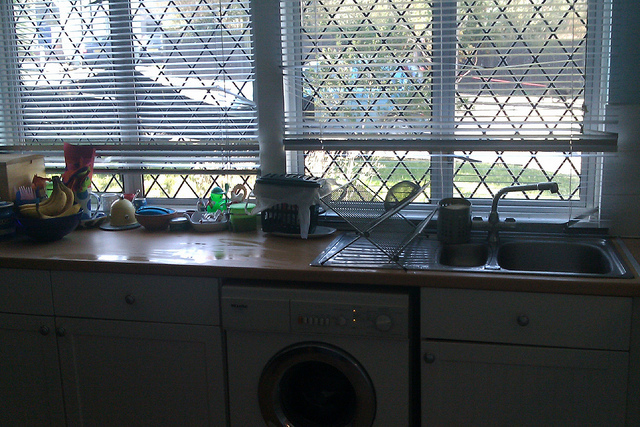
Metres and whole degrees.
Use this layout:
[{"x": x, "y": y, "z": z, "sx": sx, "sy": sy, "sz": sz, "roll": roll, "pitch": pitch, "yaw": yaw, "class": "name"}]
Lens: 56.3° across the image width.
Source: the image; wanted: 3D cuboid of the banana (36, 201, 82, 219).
[{"x": -1.410, "y": -0.020, "z": 3.211, "sx": 0.215, "sy": 0.074, "sz": 0.122, "roll": -4, "pitch": 9, "yaw": -26, "class": "banana"}]

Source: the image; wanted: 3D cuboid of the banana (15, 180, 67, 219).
[{"x": -1.445, "y": -0.059, "z": 3.228, "sx": 0.255, "sy": 0.211, "sz": 0.219, "roll": 9, "pitch": 18, "yaw": 28, "class": "banana"}]

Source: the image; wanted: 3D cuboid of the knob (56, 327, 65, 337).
[{"x": -1.301, "y": 0.590, "z": 2.987, "sx": 0.045, "sy": 0.042, "sz": 0.013, "roll": 10, "pitch": 1, "yaw": 10, "class": "knob"}]

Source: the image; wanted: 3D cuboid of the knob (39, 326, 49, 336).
[{"x": -1.388, "y": 0.588, "z": 2.996, "sx": 0.042, "sy": 0.039, "sz": 0.011, "roll": 4, "pitch": 0, "yaw": 2, "class": "knob"}]
